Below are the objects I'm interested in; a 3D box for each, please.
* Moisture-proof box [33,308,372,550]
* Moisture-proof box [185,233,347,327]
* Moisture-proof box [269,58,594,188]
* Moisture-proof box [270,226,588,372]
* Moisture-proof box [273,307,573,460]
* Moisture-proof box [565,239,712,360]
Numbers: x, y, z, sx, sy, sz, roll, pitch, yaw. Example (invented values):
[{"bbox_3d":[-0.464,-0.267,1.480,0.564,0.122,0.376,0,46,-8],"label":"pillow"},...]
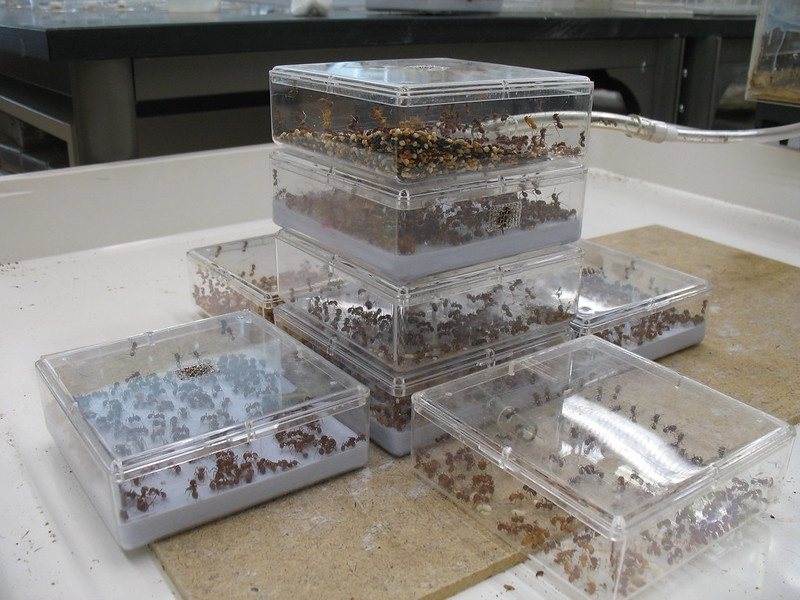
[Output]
[{"bbox_3d":[-0.345,0.192,1.232,0.476,0.153,0.408,-15,31,-27],"label":"Moisture-proof box"},{"bbox_3d":[-0.319,-0.043,1.522,0.262,0.093,0.267,-16,33,-27],"label":"Moisture-proof box"},{"bbox_3d":[0.093,-0.328,1.233,0.325,0.122,0.359,-17,29,-33],"label":"Moisture-proof box"},{"bbox_3d":[-0.024,-0.009,1.311,0.329,0.106,0.329,-18,30,-38],"label":"Moisture-proof box"},{"bbox_3d":[-0.046,0.107,1.323,0.315,0.088,0.319,-17,30,-35],"label":"Moisture-proof box"},{"bbox_3d":[0.504,0.009,1.522,0.283,0.098,0.291,-22,37,-30],"label":"Moisture-proof box"}]
